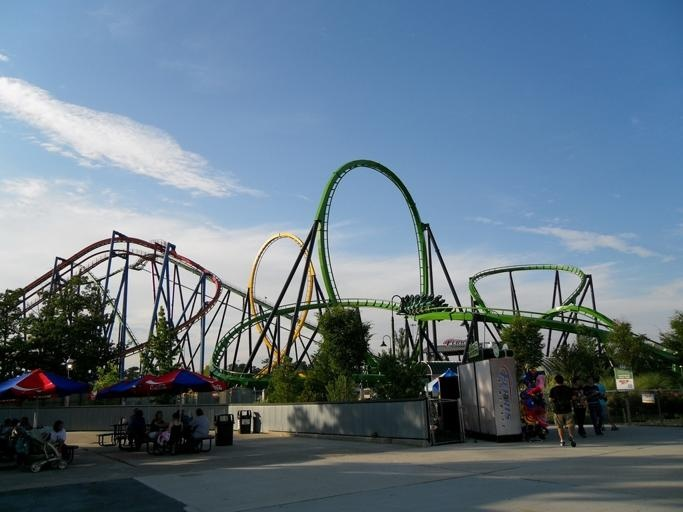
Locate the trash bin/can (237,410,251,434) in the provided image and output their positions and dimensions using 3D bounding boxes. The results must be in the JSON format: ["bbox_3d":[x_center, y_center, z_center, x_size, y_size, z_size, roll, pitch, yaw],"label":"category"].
[{"bbox_3d":[-4.218,7.303,25.153,0.832,1.200,0.803,-1,-12,-14],"label":"trash bin/can"}]

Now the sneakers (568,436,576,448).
[{"bbox_3d":[5.899,4.740,14.587,0.173,0.160,0.424,1,-4,18],"label":"sneakers"}]

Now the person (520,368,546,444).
[{"bbox_3d":[5.526,4.258,16.403,0.745,1.931,0.740,-8,-16,15],"label":"person"}]

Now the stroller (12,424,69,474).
[{"bbox_3d":[-7.404,4.817,14.584,0.825,0.774,0.613,16,-12,23],"label":"stroller"}]
